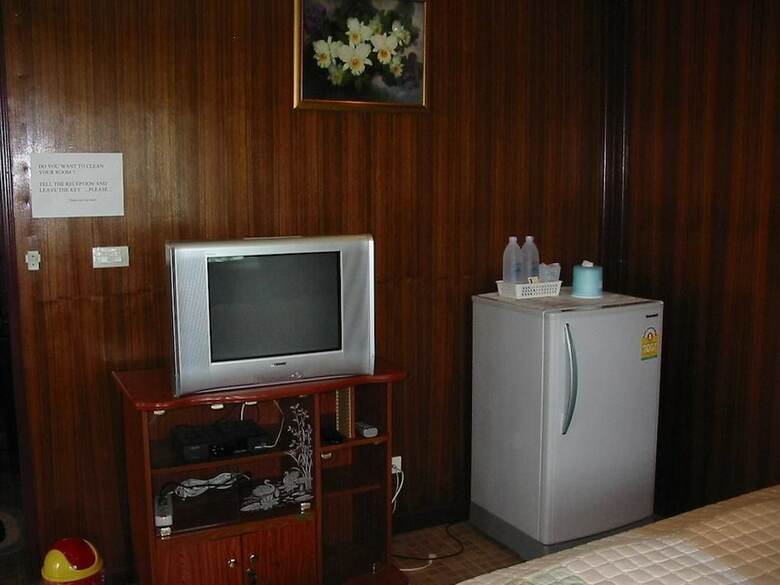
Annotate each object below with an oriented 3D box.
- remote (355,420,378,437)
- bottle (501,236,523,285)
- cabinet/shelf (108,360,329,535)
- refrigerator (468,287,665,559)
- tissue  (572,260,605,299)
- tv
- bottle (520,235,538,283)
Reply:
[{"bbox_3d":[-0.108,0.620,2.855,0.101,0.042,0.154,-6,11,-1],"label":"remote"},{"bbox_3d":[0.672,-0.176,3.396,0.157,0.258,0.168,-2,2,0],"label":"bottle"},{"bbox_3d":[-0.738,0.446,2.774,0.942,0.976,0.665,-5,15,-26],"label":"cabinet/shelf"},{"bbox_3d":[0.942,0.633,3.346,0.742,1.298,0.694,-3,5,-28],"label":"refrigerator"},{"bbox_3d":[1.050,-0.073,3.298,0.160,0.186,0.156,-8,8,-44],"label":"tissue "},{"bbox_3d":[-0.529,0.042,2.789,0.826,0.677,0.411,-3,17,-18],"label":"tv"},{"bbox_3d":[0.772,-0.192,3.399,0.095,0.331,0.090,-8,42,7],"label":"bottle"}]
